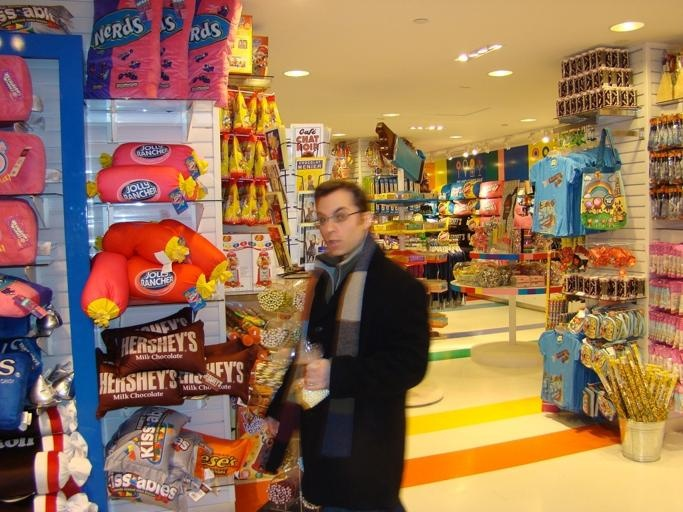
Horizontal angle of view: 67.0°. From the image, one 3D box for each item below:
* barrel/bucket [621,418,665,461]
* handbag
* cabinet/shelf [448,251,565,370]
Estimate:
[{"bbox_3d":[2.448,1.502,4.301,0.342,0.255,0.307,2,-2,-24],"label":"barrel/bucket"},{"bbox_3d":[2.407,-0.691,4.822,0.414,0.944,0.297,-3,6,-18],"label":"handbag"},{"bbox_3d":[2.333,0.762,7.100,1.414,1.341,1.263,6,-5,-35],"label":"cabinet/shelf"}]
